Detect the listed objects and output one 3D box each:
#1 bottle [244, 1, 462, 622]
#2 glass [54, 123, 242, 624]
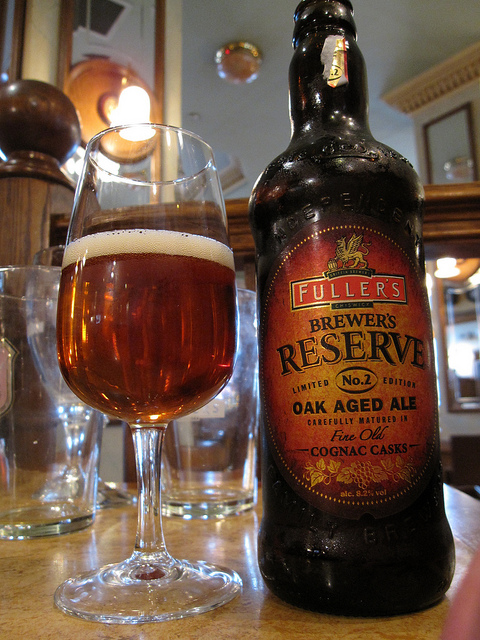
[{"bbox_3d":[0.087,-0.059,0.541,0.154,0.573,0.151,-1,-8,0],"label":"bottle"},{"bbox_3d":[-0.083,0.050,0.562,0.167,0.408,0.161,-1,-2,-3],"label":"glass"}]
